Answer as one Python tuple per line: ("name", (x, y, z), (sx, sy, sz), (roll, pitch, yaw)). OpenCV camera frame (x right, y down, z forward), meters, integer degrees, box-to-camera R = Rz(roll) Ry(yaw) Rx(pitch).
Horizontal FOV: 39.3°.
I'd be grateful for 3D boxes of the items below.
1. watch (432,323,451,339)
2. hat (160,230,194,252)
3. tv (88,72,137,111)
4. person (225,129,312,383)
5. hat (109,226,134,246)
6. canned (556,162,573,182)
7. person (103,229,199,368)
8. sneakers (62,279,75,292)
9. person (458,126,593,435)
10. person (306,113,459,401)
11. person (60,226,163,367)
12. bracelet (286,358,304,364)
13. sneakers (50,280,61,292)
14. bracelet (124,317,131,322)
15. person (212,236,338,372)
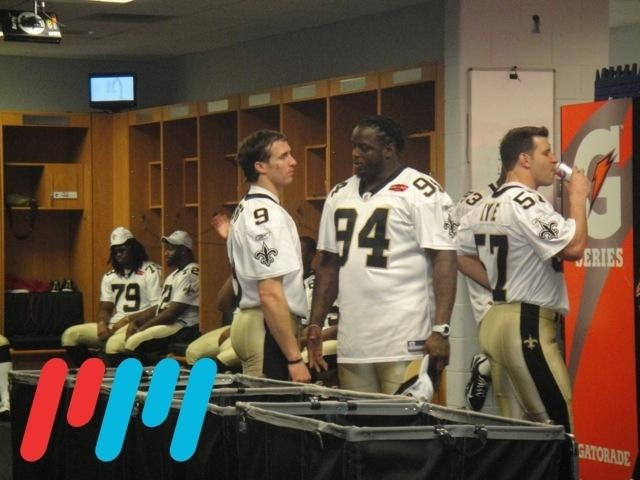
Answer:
("watch", (0.614, 0.460, 4.529), (0.066, 0.072, 0.067), (2, 10, 29))
("hat", (-1.251, 0.011, 7.849), (0.213, 0.117, 0.154), (11, -5, -19))
("tv", (-1.926, -1.385, 8.310), (0.338, 0.268, 0.047), (0, 2, 7))
("person", (-0.289, 0.078, 4.772), (0.429, 1.329, 0.458), (-1, 2, -4))
("hat", (-1.777, -0.030, 8.054), (0.144, 0.133, 0.215), (-19, -3, 15))
("canned", (1.402, -0.396, 5.170), (0.085, 0.094, 0.155), (1, 12, 2))
("person", (-1.394, 0.655, 7.749), (0.764, 1.476, 0.603), (5, -7, -35))
("sneakers", (-2.407, 0.452, 8.544), (0.084, 0.135, 0.134), (-1, 19, -14))
("person", (1.174, 0.192, 5.143), (0.523, 1.711, 0.690), (-2, 2, -30))
("person", (0.340, 0.401, 4.818), (0.778, 2.115, 0.497), (-2, -2, 28))
("person", (-1.796, 0.673, 7.895), (0.655, 1.549, 0.911), (0, 2, 42))
("bracelet", (-0.134, 0.631, 4.643), (0.081, 0.033, 0.047), (-1, 2, 3))
("sneakers", (-2.497, 0.440, 8.495), (0.061, 0.130, 0.183), (1, 4, -14))
("bracelet", (-1.674, 0.694, 7.762), (0.034, 0.043, 0.104), (0, -12, -6))
("person", (-0.192, 0.443, 6.583), (1.495, 0.926, 0.605), (2, -6, -1))
